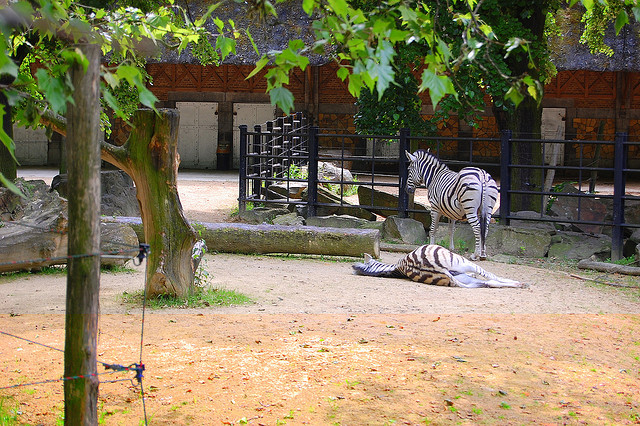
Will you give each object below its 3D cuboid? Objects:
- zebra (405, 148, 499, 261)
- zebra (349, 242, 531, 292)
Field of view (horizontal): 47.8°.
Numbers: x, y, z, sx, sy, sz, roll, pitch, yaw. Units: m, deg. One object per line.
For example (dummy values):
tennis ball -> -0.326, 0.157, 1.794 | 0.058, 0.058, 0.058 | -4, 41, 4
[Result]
zebra -> 2.544, -0.197, 13.978 | 0.851, 2.053, 2.625 | -5, 6, -27
zebra -> 2.082, 0.800, 11.886 | 2.773, 0.633, 1.440 | 4, 6, 28
